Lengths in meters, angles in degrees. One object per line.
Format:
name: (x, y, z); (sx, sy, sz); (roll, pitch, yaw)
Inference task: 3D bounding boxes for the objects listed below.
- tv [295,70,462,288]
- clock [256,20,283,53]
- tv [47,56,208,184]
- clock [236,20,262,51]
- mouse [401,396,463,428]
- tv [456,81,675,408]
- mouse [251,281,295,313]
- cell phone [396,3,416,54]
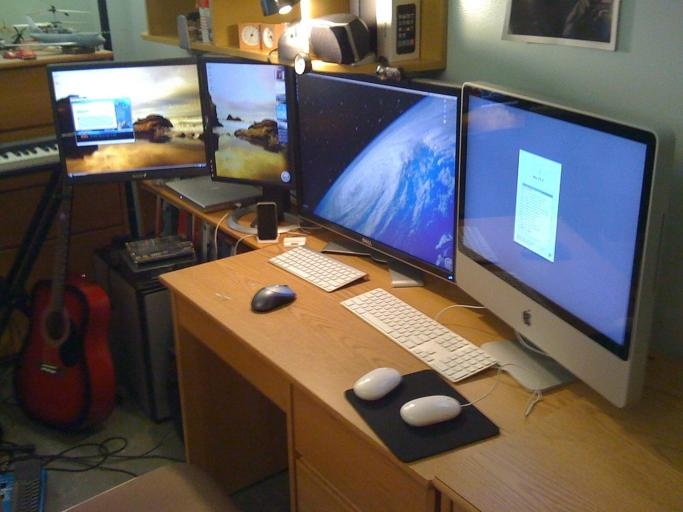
tv: (0.128, -0.244, 1.719); (0.068, 0.474, 0.633); (-19, 28, -39)
clock: (-0.246, -0.785, 1.999); (0.080, 0.088, 0.157); (-17, 29, -28)
tv: (-0.844, -0.548, 2.242); (0.564, 0.422, 0.063); (-4, 20, -5)
clock: (-0.336, -0.802, 2.051); (0.100, 0.099, 0.099); (-10, 12, -27)
mouse: (0.196, 0.318, 1.182); (0.112, 0.039, 0.059); (-8, 29, -18)
tv: (0.496, -0.022, 1.210); (0.196, 0.552, 0.546); (-11, 34, -22)
mouse: (-0.202, 0.123, 1.612); (0.066, 0.042, 0.117); (28, 41, 33)
cell phone: (0.206, -0.712, 1.747); (0.083, 0.146, 0.019); (-14, 27, -22)
